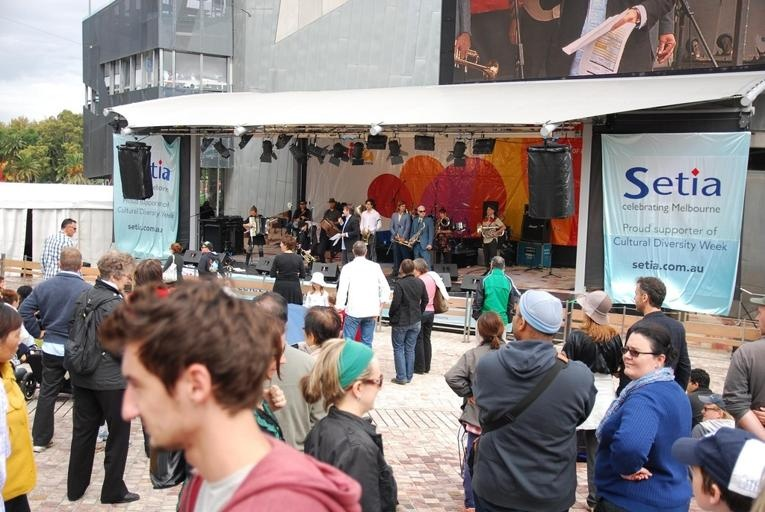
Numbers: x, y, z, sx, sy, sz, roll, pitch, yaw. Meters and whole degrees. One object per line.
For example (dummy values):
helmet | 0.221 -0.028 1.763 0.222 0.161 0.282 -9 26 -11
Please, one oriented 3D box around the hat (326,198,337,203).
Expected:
hat | -1.429 -1.614 19.441 0.319 0.145 0.367 -1 4 -4

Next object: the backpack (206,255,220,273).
backpack | -2.989 0.125 11.798 0.175 0.075 0.269 0 31 -12

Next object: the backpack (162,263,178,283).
backpack | -4.092 0.305 12.962 0.262 0.329 0.153 5 -31 -3

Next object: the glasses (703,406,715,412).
glasses | 3.471 1.588 7.061 0.078 0.024 0.081 8 -3 20

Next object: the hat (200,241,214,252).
hat | -4.118 -0.238 15.716 0.237 0.333 0.313 7 11 32

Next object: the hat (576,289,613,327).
hat | 2.254 0.474 7.103 0.282 0.208 0.382 16 31 -40

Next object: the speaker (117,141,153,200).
speaker | -6.297 -2.180 17.004 0.840 1.252 0.723 1 0 1

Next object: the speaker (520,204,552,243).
speaker | 4.242 -0.843 18.202 0.814 1.459 0.513 8 17 32

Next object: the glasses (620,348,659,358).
glasses | 2.169 0.798 5.618 0.248 0.071 0.102 1 0 41

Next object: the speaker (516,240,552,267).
speaker | 4.738 -0.050 20.658 0.689 0.969 1.108 -1 2 -44

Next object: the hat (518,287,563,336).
hat | 1.330 0.467 5.585 0.350 0.379 0.235 1 0 7

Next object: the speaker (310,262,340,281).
speaker | -1.195 0.323 15.416 0.451 0.321 0.433 0 -3 14

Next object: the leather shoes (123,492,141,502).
leather shoes | -2.583 2.465 6.915 0.163 0.077 0.062 -2 9 -24

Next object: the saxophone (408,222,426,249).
saxophone | 0.963 -0.517 17.339 0.156 0.635 0.367 19 -7 -37

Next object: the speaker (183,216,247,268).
speaker | -4.710 -0.432 18.752 0.691 1.465 1.430 -1 -2 19

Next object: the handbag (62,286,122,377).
handbag | -2.938 0.745 6.746 0.572 0.767 0.290 1 0 7

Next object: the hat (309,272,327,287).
hat | -1.139 0.353 11.917 0.257 0.210 0.347 8 -20 4

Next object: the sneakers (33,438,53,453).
sneakers | -3.946 2.190 7.814 0.077 0.090 0.215 3 6 36

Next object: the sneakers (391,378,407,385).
sneakers | 0.289 1.999 10.826 0.088 0.106 0.227 -4 11 -39
